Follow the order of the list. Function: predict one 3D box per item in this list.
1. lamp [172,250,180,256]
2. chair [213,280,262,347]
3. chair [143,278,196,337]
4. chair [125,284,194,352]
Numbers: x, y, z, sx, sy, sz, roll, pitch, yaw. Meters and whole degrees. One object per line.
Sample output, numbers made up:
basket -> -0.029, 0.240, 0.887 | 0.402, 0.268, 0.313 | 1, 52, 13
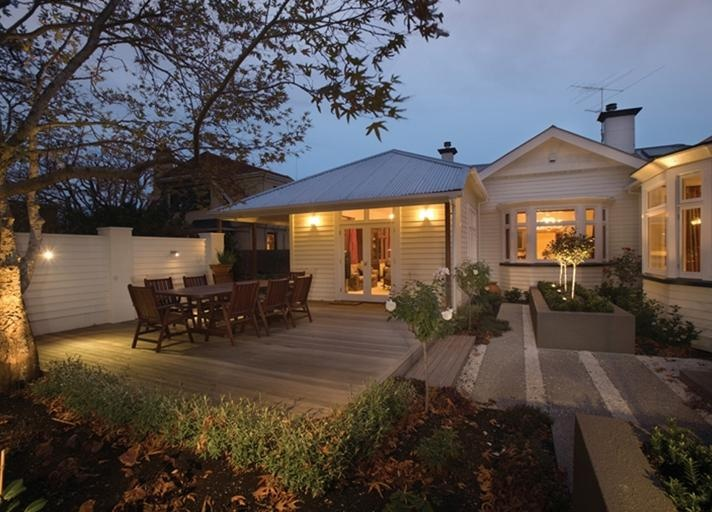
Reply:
lamp -> -4.721, -0.061, 12.448 | 0.095, 0.166, 0.310 | -2, 1, 9
chair -> -2.479, 1.092, 9.619 | 0.991, 1.129, 1.158 | -3, 2, -44
chair -> -3.741, 1.098, 10.017 | 0.988, 1.320, 0.966 | 1, 10, 39
chair -> -3.799, 1.095, 9.259 | 0.843, 1.272, 0.919 | 3, 8, 35
